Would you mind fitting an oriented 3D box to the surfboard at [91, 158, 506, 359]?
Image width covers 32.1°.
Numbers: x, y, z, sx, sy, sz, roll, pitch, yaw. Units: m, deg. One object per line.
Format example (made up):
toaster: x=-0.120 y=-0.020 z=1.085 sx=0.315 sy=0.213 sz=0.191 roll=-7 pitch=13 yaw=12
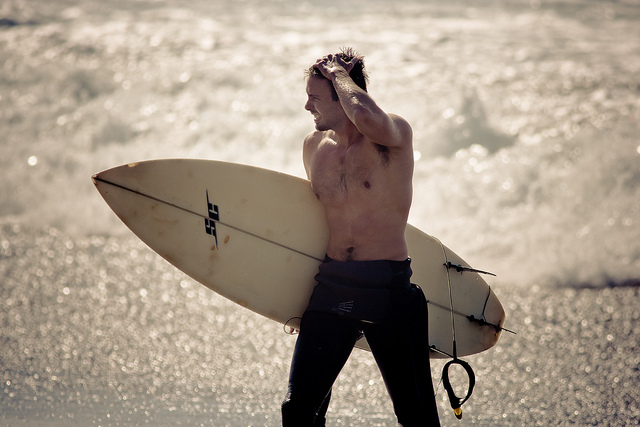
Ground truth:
surfboard: x=-0.342 y=0.292 z=9.865 sx=3.524 sy=0.606 sz=1.198 roll=20 pitch=71 yaw=6
